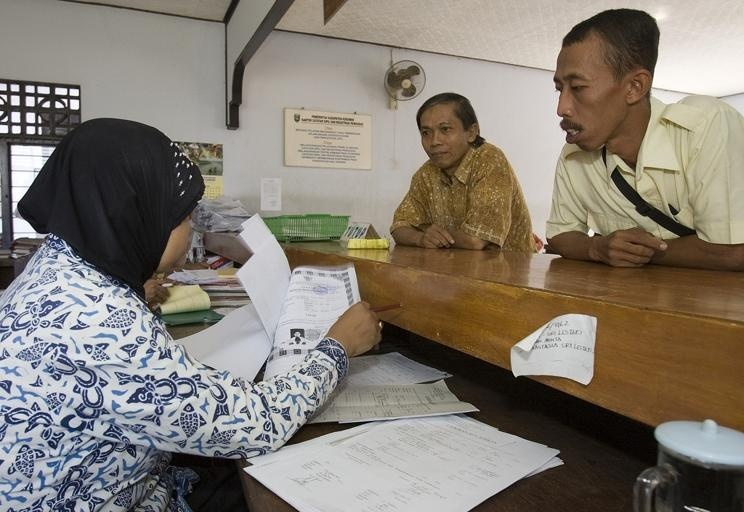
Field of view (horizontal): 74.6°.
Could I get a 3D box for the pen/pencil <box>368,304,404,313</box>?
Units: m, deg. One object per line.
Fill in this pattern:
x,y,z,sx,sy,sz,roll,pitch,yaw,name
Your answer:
0.035,0.120,1.118,0.077,0.008,0.008,-11,35,29,pen/pencil
